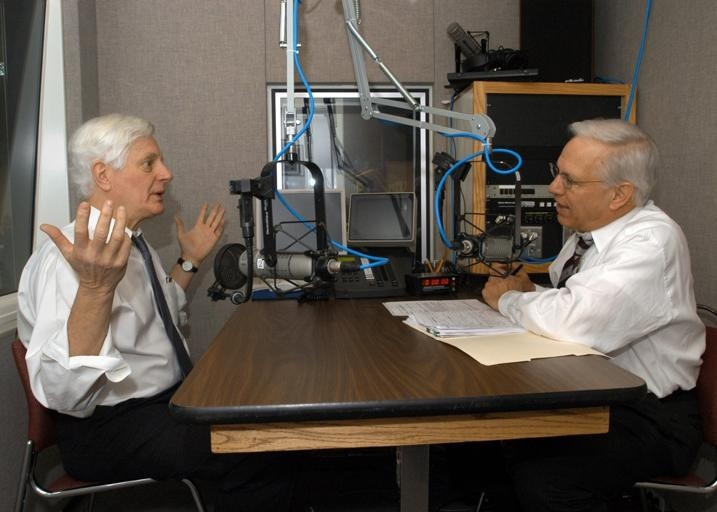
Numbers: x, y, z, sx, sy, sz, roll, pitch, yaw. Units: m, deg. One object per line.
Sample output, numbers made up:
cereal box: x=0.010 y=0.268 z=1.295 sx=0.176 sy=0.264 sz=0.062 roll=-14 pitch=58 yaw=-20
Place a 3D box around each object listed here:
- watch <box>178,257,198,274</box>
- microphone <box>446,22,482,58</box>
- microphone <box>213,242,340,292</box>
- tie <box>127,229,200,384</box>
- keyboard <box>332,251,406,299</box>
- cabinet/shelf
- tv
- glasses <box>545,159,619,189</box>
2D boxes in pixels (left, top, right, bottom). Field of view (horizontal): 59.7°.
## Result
watch: x=-0.840 y=0.044 z=3.043 sx=0.083 sy=0.033 sz=0.081 roll=35 pitch=-14 yaw=23
microphone: x=0.556 y=-1.105 z=3.217 sx=0.175 sy=0.170 sz=0.153 roll=3 pitch=16 yaw=19
microphone: x=-0.286 y=0.042 z=2.527 sx=0.533 sy=0.214 sz=0.204 roll=4 pitch=25 yaw=15
tie: x=-0.840 y=0.190 z=2.657 sx=0.097 sy=0.740 sz=0.100 roll=-21 pitch=4 yaw=-24
keyboard: x=0.045 y=0.103 z=2.766 sx=0.204 sy=0.061 sz=0.226 roll=-6 pitch=28 yaw=4
cabinet/shelf: x=0.769 y=-0.539 z=3.498 sx=1.174 sy=1.205 sz=0.842 roll=2 pitch=5 yaw=2
tv: x=0.114 y=-0.169 z=3.084 sx=0.331 sy=0.255 sz=0.218 roll=-2 pitch=15 yaw=1
glasses: x=0.873 y=-0.306 z=2.420 sx=0.158 sy=0.049 sz=0.155 roll=-3 pitch=20 yaw=-7
